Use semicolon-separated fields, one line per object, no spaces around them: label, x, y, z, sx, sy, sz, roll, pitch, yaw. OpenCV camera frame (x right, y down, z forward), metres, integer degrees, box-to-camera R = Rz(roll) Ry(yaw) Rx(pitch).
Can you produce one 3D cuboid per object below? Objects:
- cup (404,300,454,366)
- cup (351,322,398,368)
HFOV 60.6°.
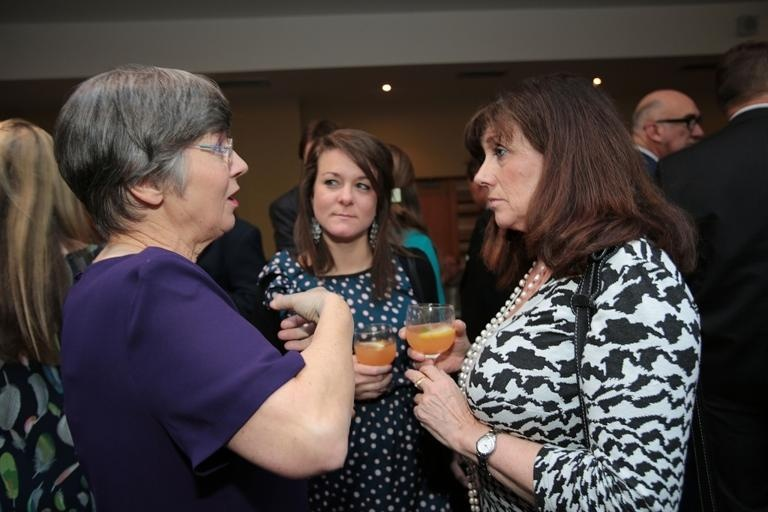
cup;0.173;0.266;2.449;0.192;0.212;0.188;0;-8;0
cup;-0.039;0.329;2.469;0.160;0.168;0.159;-1;-5;0
